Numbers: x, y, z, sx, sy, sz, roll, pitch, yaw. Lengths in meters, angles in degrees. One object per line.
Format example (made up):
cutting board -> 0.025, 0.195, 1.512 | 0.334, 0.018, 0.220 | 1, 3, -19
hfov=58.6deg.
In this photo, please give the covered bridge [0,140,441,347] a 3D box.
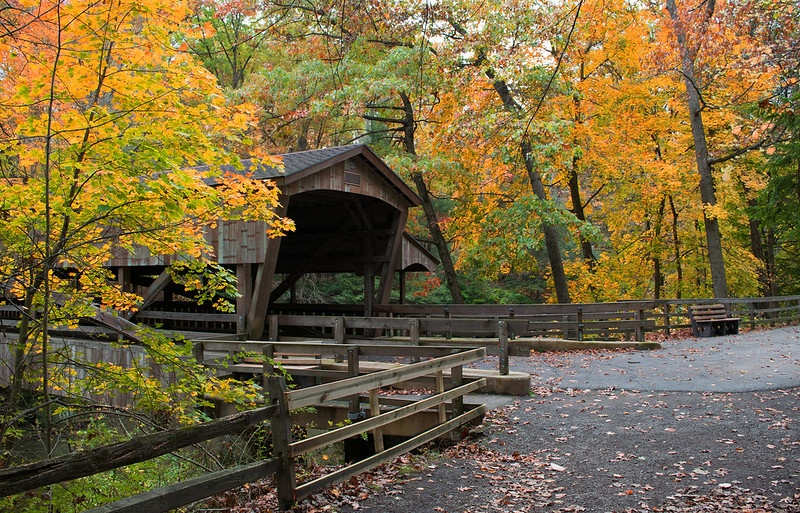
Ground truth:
covered bridge -> -3.429, -0.067, 22.046 | 9.104, 6.740, 8.815 | -1, 13, 2
